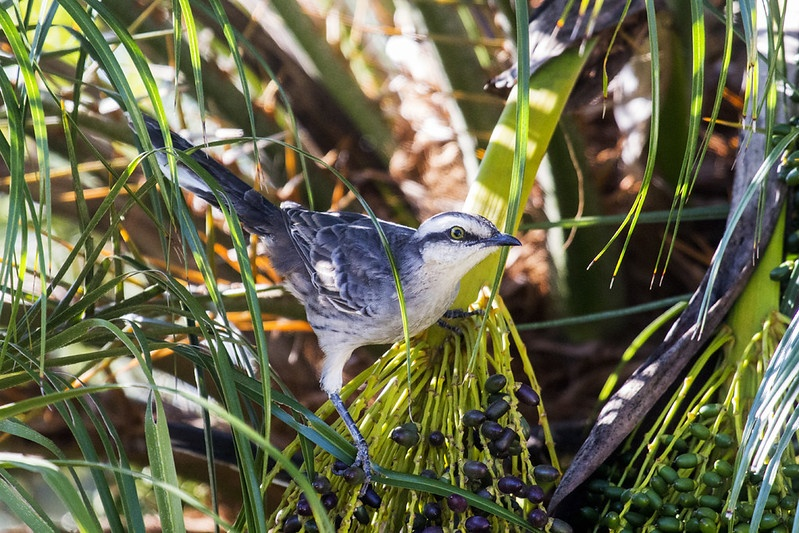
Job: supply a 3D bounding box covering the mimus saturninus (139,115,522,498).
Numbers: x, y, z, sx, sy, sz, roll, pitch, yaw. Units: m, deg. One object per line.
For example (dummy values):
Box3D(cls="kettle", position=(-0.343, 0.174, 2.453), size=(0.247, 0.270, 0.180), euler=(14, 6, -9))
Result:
Box3D(cls="mimus saturninus", position=(-0.180, -0.043, 3.355), size=(1.263, 0.823, 0.967), euler=(20, 39, 20))
